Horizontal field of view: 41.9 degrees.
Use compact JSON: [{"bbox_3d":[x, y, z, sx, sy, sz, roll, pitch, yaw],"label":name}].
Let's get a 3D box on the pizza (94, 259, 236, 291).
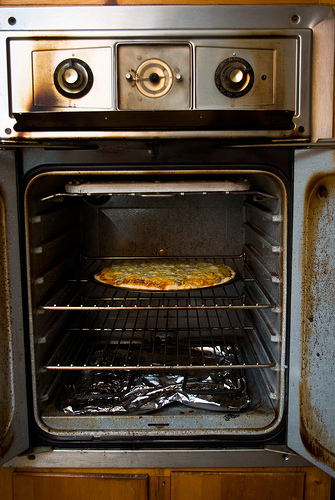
[{"bbox_3d":[-0.007,0.093,1.787,0.533,0.560,0.039,-4,-81,-21],"label":"pizza"}]
